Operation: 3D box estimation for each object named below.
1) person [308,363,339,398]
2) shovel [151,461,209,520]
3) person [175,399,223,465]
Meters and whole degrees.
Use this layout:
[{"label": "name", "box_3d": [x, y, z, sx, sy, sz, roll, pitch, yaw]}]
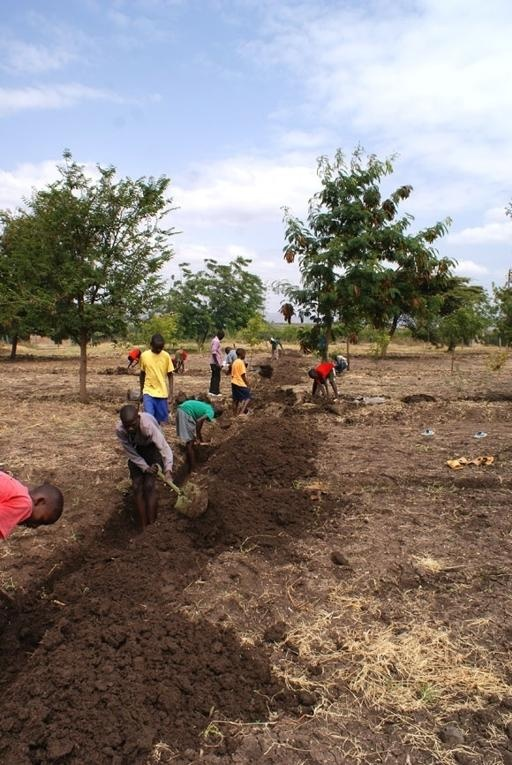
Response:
[{"label": "person", "box_3d": [1.353, -0.195, 11.175, 0.370, 0.633, 1.205, -8, 16, -8]}, {"label": "shovel", "box_3d": [-0.687, 0.907, 5.016, 0.441, 0.206, 0.240, 37, -21, 7]}, {"label": "person", "box_3d": [-0.775, 0.651, 7.486, 0.374, 0.879, 0.602, 2, 10, 17]}]
